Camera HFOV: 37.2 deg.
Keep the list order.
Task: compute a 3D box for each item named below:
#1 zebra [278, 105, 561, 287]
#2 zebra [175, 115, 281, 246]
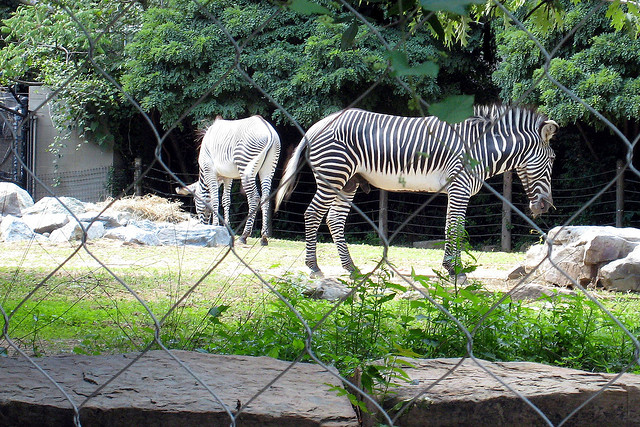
[{"bbox_3d":[1.242,-0.285,12.428,3.205,2.461,4.252,6,6,16],"label":"zebra"},{"bbox_3d":[-1.629,-0.747,17.338,0.987,2.452,3.832,5,-6,-30],"label":"zebra"}]
